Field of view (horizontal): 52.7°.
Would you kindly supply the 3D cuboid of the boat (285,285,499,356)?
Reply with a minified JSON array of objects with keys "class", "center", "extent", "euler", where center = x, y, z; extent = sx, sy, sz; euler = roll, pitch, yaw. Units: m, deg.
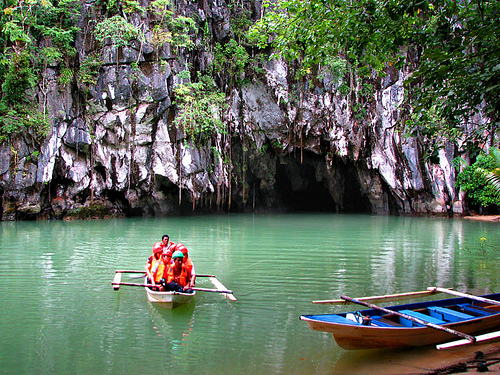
[{"class":"boat","center":[2.668,2.322,8.452],"extent":[3.411,0.729,1.794],"euler":[-3,8,-17]}]

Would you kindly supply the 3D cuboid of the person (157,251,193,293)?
[{"class":"person","center":[-1.448,1.693,10.034],"extent":[0.770,0.801,0.489],"euler":[-4,8,-23]}]
